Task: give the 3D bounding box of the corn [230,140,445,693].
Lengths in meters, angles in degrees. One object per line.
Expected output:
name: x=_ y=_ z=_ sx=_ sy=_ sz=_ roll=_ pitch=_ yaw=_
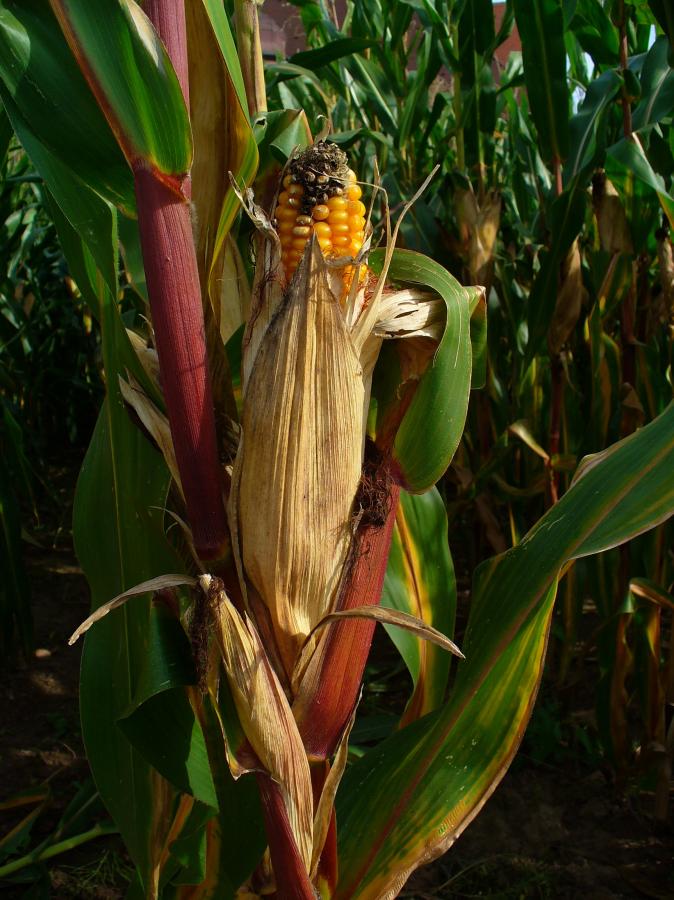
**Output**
corn: x=-0.026 y=-0.042 z=0.701 sx=0.211 sy=0.392 sz=0.344 roll=0 pitch=19 yaw=4
